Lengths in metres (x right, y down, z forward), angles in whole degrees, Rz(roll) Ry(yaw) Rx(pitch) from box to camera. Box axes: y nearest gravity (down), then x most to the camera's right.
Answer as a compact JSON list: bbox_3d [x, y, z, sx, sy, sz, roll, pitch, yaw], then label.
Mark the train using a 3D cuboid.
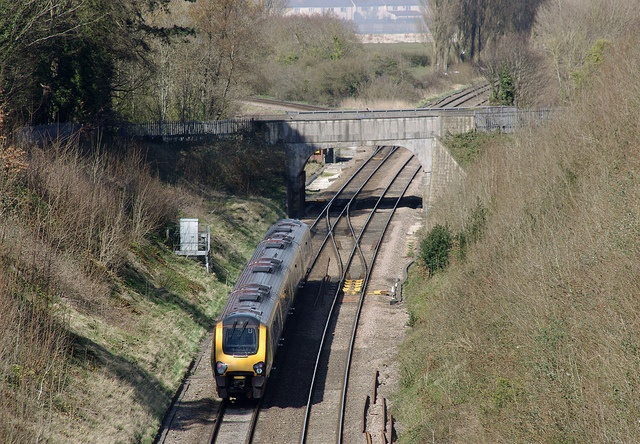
[{"bbox_3d":[-3.923,5.131,58.294,2.256,4.750,18.776,1,31,6],"label":"train"}]
